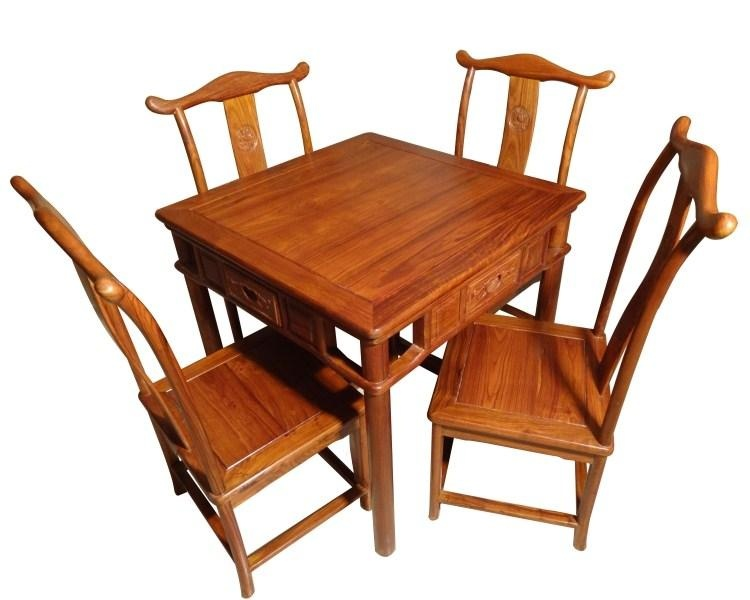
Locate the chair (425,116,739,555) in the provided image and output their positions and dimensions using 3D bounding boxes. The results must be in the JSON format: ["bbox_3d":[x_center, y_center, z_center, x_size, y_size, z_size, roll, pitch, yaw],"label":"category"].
[{"bbox_3d":[0.488,0.068,2.017,0.850,1.393,0.765,13,47,13],"label":"chair"}]

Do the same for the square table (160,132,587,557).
[{"bbox_3d":[0.009,0.066,2.946,1.565,1.137,1.489,25,46,30],"label":"square table"}]
